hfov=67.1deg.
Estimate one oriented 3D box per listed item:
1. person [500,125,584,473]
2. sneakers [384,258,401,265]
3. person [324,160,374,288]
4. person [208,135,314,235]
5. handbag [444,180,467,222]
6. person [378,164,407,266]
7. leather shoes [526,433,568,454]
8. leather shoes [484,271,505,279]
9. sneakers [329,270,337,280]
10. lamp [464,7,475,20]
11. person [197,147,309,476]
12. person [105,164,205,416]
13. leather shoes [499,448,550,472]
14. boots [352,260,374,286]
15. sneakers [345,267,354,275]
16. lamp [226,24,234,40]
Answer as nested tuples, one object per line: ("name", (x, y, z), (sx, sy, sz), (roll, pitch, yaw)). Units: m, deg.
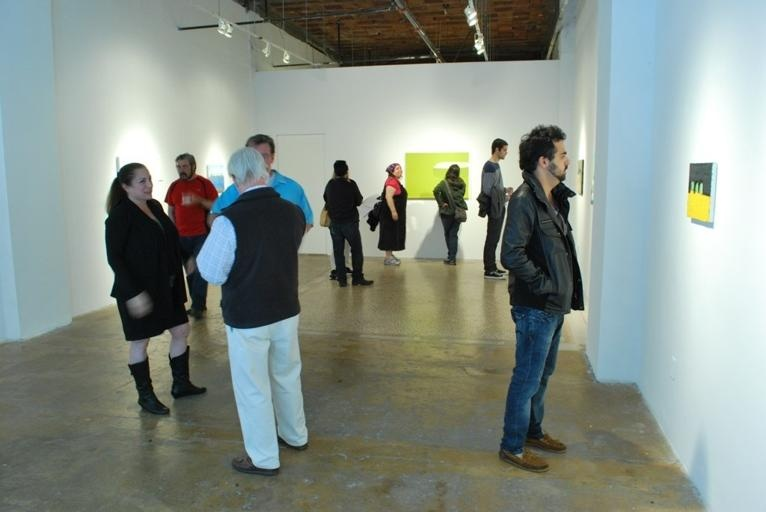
("person", (1.143, 0.302, 4.201), (0.510, 2.413, 0.645), (9, 16, 36))
("sneakers", (0.147, 0.081, 10.536), (0.259, 0.121, 0.121), (1, 13, 8))
("person", (-0.571, -0.498, 8.826), (0.581, 1.858, 0.445), (-2, 13, -6))
("person", (-1.129, -0.441, 5.293), (1.074, 1.280, 0.619), (2, -5, -8))
("handbag", (1.300, -0.949, 10.039), (0.431, 0.629, 0.212), (-16, 4, -31))
("person", (0.182, -0.749, 10.374), (0.620, 2.309, 0.962), (-1, 26, -2))
("leather shoes", (1.252, 1.434, 4.461), (0.276, 0.120, 0.124), (-1, 4, 16))
("leather shoes", (1.785, 0.289, 9.220), (0.337, 0.159, 0.131), (0, 12, 0))
("sneakers", (-0.806, 0.308, 9.418), (0.072, 0.167, 0.226), (0, -2, -1))
("lamp", (1.378, -3.867, 9.163), (0.134, 0.212, 0.368), (1, 14, 6))
("person", (-0.901, 0.390, 4.265), (0.505, 2.312, 0.732), (7, 15, 32))
("person", (-1.985, 0.270, 5.007), (0.671, 2.102, 0.552), (-12, 17, -41))
("leather shoes", (1.034, 1.453, 4.234), (0.279, 0.122, 0.143), (4, 7, 22))
("boots", (-0.372, 0.264, 8.960), (0.437, 0.454, 0.209), (-7, 13, -19))
("sneakers", (-0.548, 0.239, 9.310), (0.054, 0.083, 0.188), (1, 17, 9))
("lamp", (-2.373, -3.469, 8.878), (0.078, 0.165, 0.355), (-3, 15, -8))
